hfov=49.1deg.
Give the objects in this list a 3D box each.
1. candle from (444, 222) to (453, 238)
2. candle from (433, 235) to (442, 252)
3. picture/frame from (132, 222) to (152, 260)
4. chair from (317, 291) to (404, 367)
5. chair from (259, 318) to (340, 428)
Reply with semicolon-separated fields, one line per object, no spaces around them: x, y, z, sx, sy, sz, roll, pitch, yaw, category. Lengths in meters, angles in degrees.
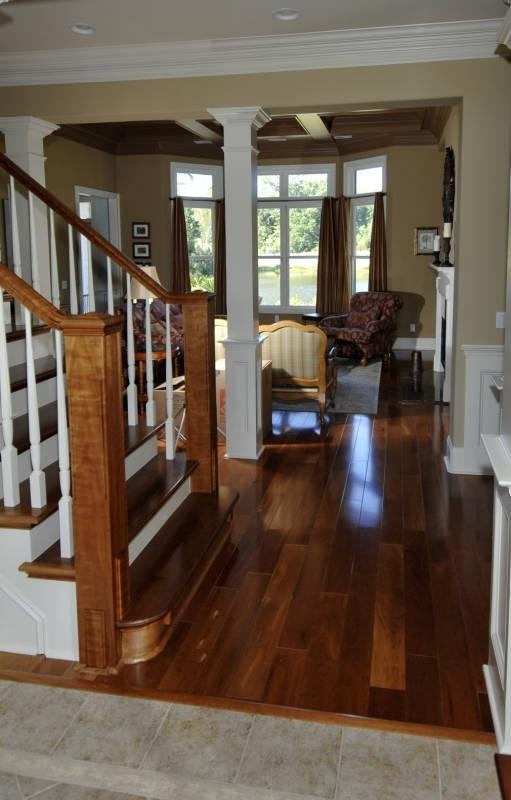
2.268;-1.999;6.605;0.085;0.217;0.407;3;7;17;candle
2.859;-2.459;8.762;0.098;0.314;0.460;3;7;17;candle
-1.931;-2.672;9.465;0.331;0.621;0.147;0;6;-9;picture/frame
1.692;-1.125;8.990;1.038;1.298;0.969;-3;7;-39;chair
0.501;-0.374;5.765;0.842;1.419;0.948;2;17;13;chair
